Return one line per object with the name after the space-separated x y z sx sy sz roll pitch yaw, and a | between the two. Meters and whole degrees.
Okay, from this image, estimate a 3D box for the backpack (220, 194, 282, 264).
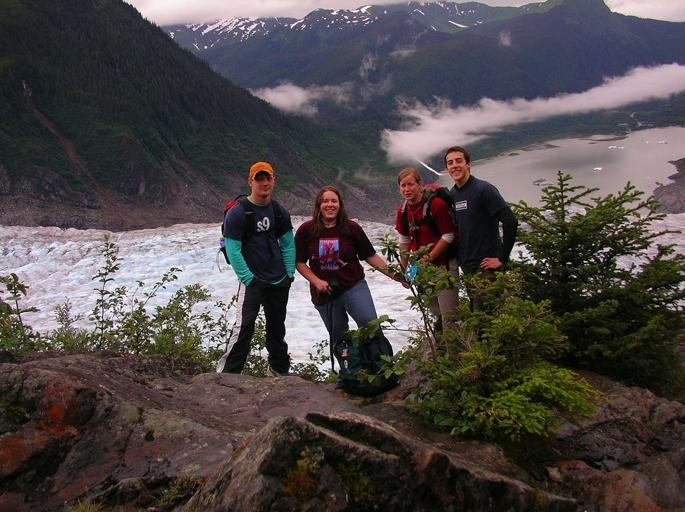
-1.065 -0.326 5.946 0.738 0.779 0.345 -9 11 -19 | backpack

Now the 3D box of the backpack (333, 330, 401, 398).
0.219 1.080 4.951 0.836 0.460 0.835 0 51 0 | backpack

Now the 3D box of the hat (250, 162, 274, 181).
-0.947 -1.014 5.847 0.282 0.183 0.373 -2 -5 -10 | hat

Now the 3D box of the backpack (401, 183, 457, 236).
0.919 -0.535 5.597 0.585 0.575 0.430 -12 14 16 | backpack

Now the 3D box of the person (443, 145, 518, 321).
1.357 -0.457 5.068 0.516 1.283 0.813 -11 12 -26 | person
